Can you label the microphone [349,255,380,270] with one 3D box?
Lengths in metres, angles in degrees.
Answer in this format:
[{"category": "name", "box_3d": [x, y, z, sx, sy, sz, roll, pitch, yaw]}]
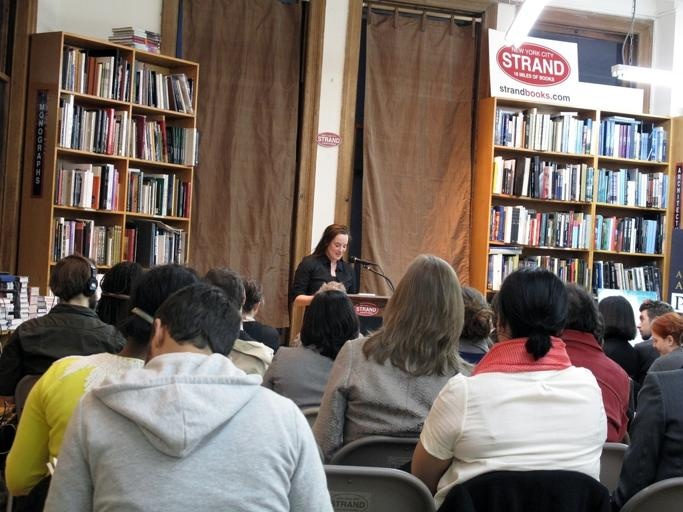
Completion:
[{"category": "microphone", "box_3d": [0.171, 0.050, 5.695, 0.092, 0.137, 0.421, -15, 10, -29]}]
